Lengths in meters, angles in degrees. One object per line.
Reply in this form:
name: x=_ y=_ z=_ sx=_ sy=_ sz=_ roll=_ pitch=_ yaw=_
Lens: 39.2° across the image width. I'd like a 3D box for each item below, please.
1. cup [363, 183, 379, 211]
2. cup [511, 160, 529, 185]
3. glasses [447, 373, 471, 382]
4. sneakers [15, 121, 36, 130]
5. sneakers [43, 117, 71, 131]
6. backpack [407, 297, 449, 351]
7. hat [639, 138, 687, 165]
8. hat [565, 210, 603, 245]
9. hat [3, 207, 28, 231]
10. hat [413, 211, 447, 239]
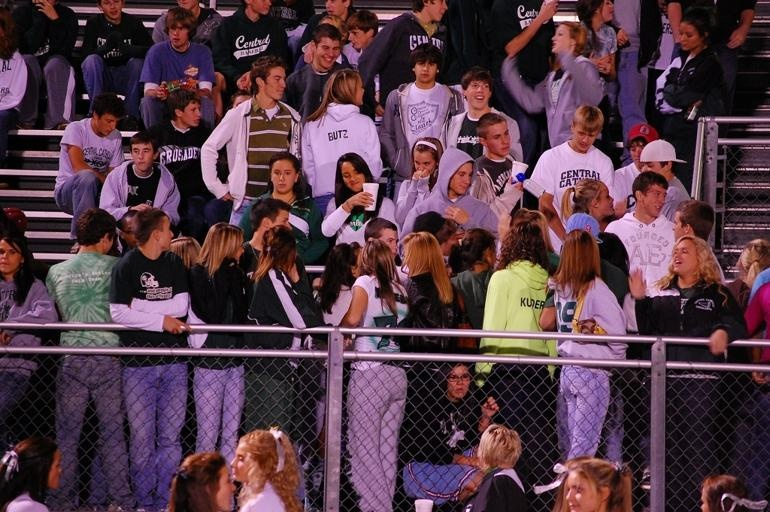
cup: x=-0.158 y=-0.663 z=12.116 sx=0.144 sy=0.309 sz=0.152 roll=-1 pitch=10 yaw=0
cup: x=1.530 y=-0.967 z=12.453 sx=0.220 sy=0.242 sz=0.221 roll=14 pitch=6 yaw=-2
glasses: x=0.734 y=1.208 z=10.723 sx=0.220 sy=0.073 sz=0.063 roll=-1 pitch=10 yaw=-3
sneakers: x=-4.933 y=-1.790 z=14.836 sx=0.237 sy=0.093 sz=0.081 roll=-1 pitch=46 yaw=-16
sneakers: x=-4.513 y=-1.826 z=14.865 sx=0.464 sy=0.175 sz=0.160 roll=-2 pitch=5 yaw=4
backpack: x=0.449 y=0.677 z=10.644 sx=0.480 sy=0.464 sz=0.261 roll=4 pitch=-6 yaw=-16
hat: x=3.206 y=-1.210 z=12.502 sx=0.390 sy=0.171 sz=0.277 roll=2 pitch=10 yaw=-4
hat: x=2.056 y=-0.331 z=11.133 sx=0.387 sy=0.201 sz=0.277 roll=24 pitch=1 yaw=-16
hat: x=-4.352 y=-0.422 z=12.773 sx=0.204 sy=0.259 sz=0.583 roll=-5 pitch=11 yaw=-21
hat: x=0.487 y=-0.357 z=11.723 sx=0.316 sy=0.275 sz=0.230 roll=-26 pitch=22 yaw=7
